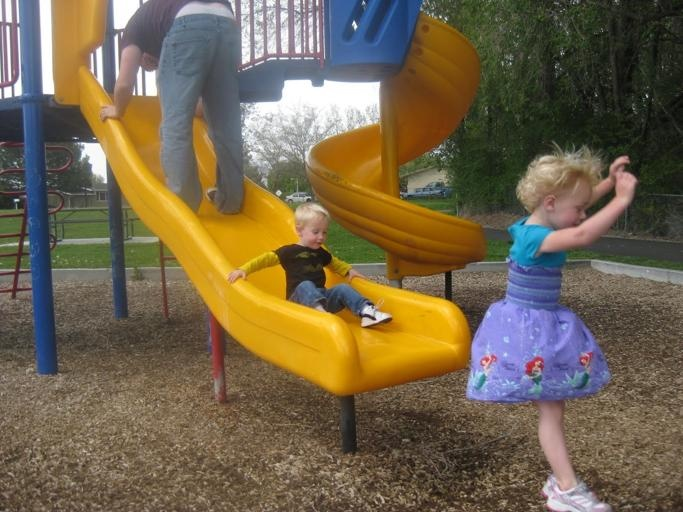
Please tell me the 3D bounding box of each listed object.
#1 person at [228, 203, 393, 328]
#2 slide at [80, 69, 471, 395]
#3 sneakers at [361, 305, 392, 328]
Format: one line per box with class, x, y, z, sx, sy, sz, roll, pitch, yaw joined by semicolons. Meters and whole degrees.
person;-0.095;0.048;4.807;0.981;0.781;1.108;10;7;40
slide;-0.720;-0.415;5.010;1.369;2.156;3.316;-8;13;-38
sneakers;0.241;0.422;4.622;0.207;0.159;0.246;0;10;1
